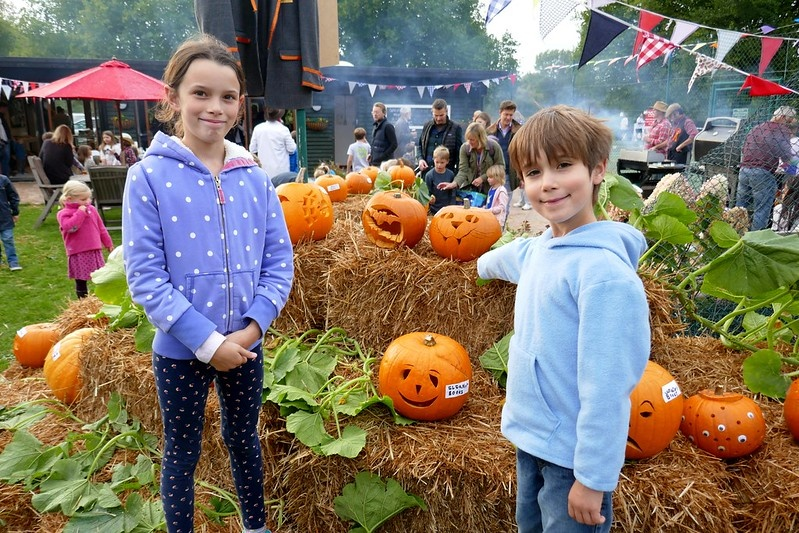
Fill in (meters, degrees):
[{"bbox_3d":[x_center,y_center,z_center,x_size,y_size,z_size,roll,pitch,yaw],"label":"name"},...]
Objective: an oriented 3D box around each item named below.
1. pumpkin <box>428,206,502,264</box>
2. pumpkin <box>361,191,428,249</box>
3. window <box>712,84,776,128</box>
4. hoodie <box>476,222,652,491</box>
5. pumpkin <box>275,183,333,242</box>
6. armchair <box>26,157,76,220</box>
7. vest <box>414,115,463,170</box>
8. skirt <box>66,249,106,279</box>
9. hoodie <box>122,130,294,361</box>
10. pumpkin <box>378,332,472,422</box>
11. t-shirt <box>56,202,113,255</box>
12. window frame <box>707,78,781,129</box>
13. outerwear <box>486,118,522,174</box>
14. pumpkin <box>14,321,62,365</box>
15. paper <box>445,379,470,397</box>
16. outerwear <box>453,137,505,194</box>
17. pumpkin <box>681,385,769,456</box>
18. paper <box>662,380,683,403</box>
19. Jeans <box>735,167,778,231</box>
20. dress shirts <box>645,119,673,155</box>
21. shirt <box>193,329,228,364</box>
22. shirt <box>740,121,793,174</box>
[{"bbox_3d":[0.479,-0.242,4.137,0.434,0.361,0.424,1,2,-2],"label":"pumpkin"},{"bbox_3d":[-0.005,-0.353,4.281,0.451,0.403,0.427,5,-2,16],"label":"pumpkin"},{"bbox_3d":[9.208,-4.336,14.563,1.585,1.126,0.856,4,8,29],"label":"window"},{"bbox_3d":[0.739,0.307,2.432,0.692,0.990,0.666,13,23,26],"label":"hoodie"},{"bbox_3d":[-0.771,-0.425,4.478,0.474,0.419,0.457,-7,2,-31],"label":"pumpkin"},{"bbox_3d":[-6.632,-1.509,10.788,1.038,1.215,1.155,11,13,43],"label":"armchair"},{"bbox_3d":[0.580,-1.706,7.694,0.731,0.733,0.498,11,22,21],"label":"vest"},{"bbox_3d":[-3.261,-0.032,5.671,0.338,0.325,0.264,-2,1,-29],"label":"skirt"},{"bbox_3d":[-1.014,-0.110,2.856,0.590,1.095,0.871,9,7,40],"label":"hoodie"},{"bbox_3d":[0.169,0.682,3.613,0.656,0.507,0.637,6,8,-10],"label":"pumpkin"},{"bbox_3d":[-3.492,-0.453,6.051,0.319,0.538,0.586,-6,5,17],"label":"t-shirt"},{"bbox_3d":[9.290,-4.264,14.771,1.826,1.258,0.996,-2,0,8],"label":"window frame"},{"bbox_3d":[1.454,-1.886,8.325,0.411,0.733,0.206,18,-5,-12],"label":"outerwear"},{"bbox_3d":[-3.158,0.701,4.794,0.433,0.389,0.420,6,-3,-30],"label":"pumpkin"},{"bbox_3d":[0.360,0.746,3.339,0.113,0.043,0.086,-15,-2,25],"label":"paper"},{"bbox_3d":[1.051,-1.350,7.299,0.705,0.876,0.720,4,12,31],"label":"outerwear"},{"bbox_3d":[1.906,0.921,3.186,0.412,0.352,0.416,-2,6,32],"label":"pumpkin"},{"bbox_3d":[1.574,0.720,3.145,0.121,0.108,0.027,6,-17,-27],"label":"paper"},{"bbox_3d":[3.302,-0.623,5.032,0.293,0.602,0.451,20,27,39],"label":"Jeans"},{"bbox_3d":[5.244,-2.643,10.955,0.399,0.731,0.652,0,25,15],"label":"dress shirts"},{"bbox_3d":[-0.892,0.379,2.573,0.077,0.147,0.113,39,-4,14],"label":"shirt"},{"bbox_3d":[3.397,-1.089,5.067,0.446,0.164,0.622,3,33,8],"label":"shirt"}]
